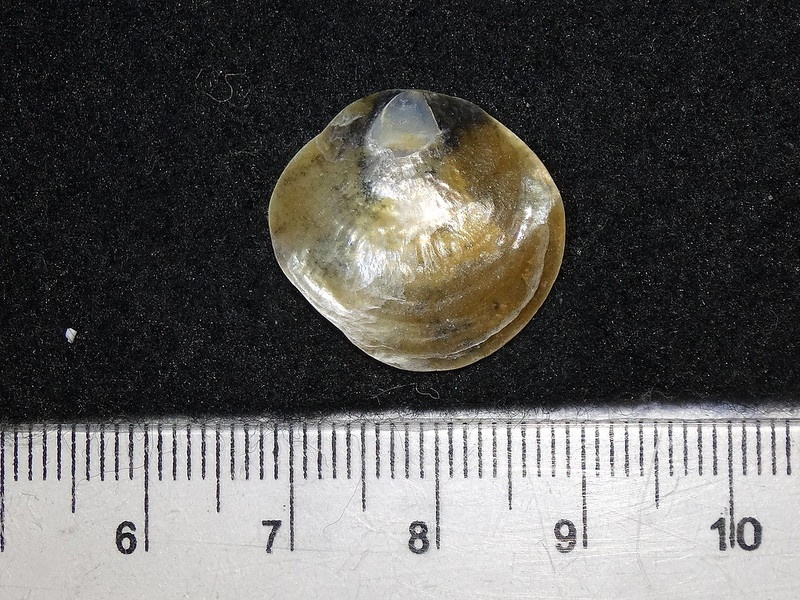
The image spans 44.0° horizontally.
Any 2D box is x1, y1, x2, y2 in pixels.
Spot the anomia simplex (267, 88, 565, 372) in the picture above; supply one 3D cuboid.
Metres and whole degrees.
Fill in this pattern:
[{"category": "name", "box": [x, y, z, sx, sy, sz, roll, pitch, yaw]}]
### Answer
[{"category": "anomia simplex", "box": [0.071, -0.264, 3.907, 1.060, 0.363, 1.030, -1, 81, 0]}]
